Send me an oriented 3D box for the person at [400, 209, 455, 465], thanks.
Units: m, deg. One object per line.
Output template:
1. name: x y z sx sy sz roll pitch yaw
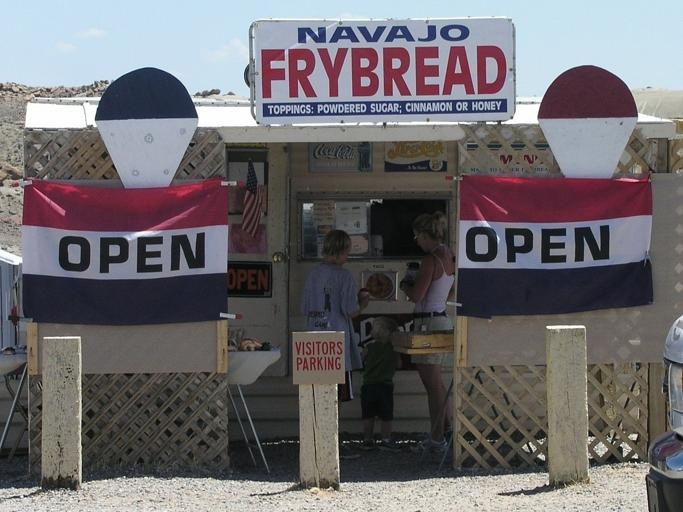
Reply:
1. person: 0.899 0.795 15.518 0.540 2.498 0.963 0 1 4

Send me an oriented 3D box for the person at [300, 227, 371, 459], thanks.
1. person: -0.083 0.909 15.379 0.673 2.350 1.030 0 1 1

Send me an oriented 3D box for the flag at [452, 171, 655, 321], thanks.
1. flag: 2.048 -0.080 14.547 1.389 1.058 0.151 -1 1 -3
